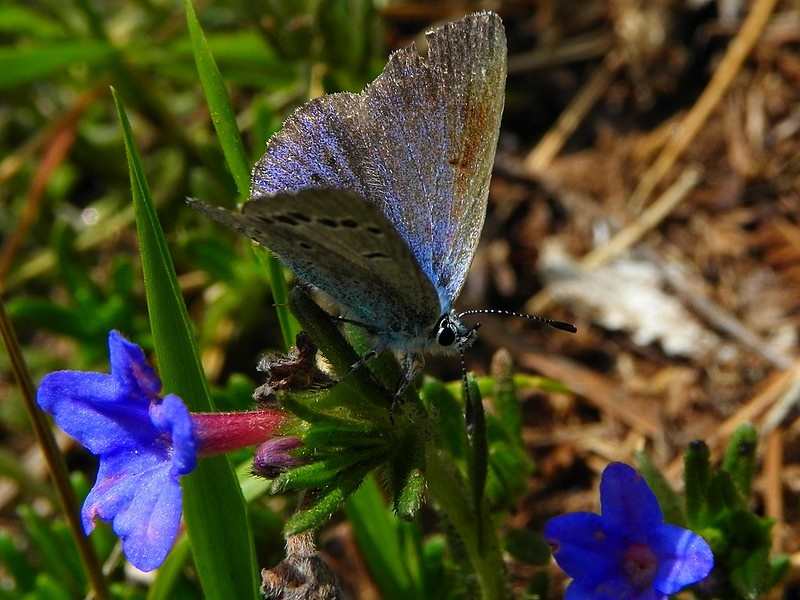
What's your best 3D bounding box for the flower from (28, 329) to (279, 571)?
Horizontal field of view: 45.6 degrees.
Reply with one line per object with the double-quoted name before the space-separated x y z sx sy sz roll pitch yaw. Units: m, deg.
"flower" -0.899 0.457 3.021 0.352 0.634 0.606 -29 36 -32
